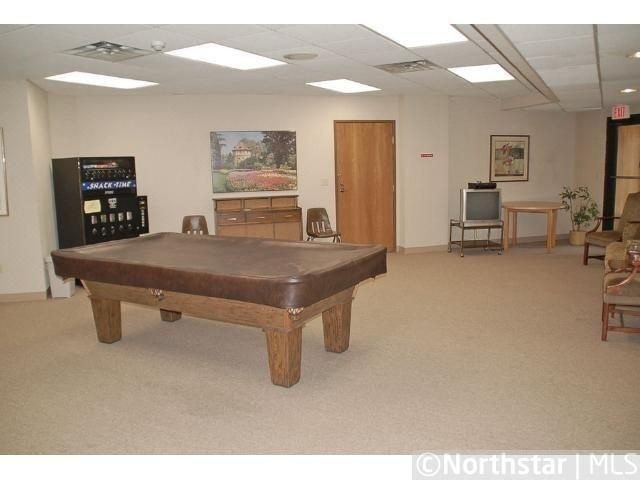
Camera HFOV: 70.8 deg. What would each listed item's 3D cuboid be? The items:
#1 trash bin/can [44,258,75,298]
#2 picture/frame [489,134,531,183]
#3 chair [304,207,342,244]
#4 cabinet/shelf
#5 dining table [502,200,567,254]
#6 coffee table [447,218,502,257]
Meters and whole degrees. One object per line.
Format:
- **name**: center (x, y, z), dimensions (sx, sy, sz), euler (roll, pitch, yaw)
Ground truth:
- **trash bin/can**: center (-3.564, 0.508, 6.126), dimensions (0.329, 0.548, 0.330), euler (-5, 12, -19)
- **picture/frame**: center (3.820, -1.677, 9.142), dimensions (1.066, 1.123, 0.056), euler (-4, 8, -14)
- **chair**: center (-0.003, -0.237, 7.153), dimensions (0.553, 0.800, 0.575), euler (-3, 6, -25)
- **cabinet/shelf**: center (-1.025, -0.320, 7.147), dimensions (0.890, 0.575, 0.302), euler (-2, 4, -18)
- **dining table**: center (3.999, -0.247, 8.598), dimensions (1.143, 0.835, 1.214), euler (5, 7, 30)
- **coffee table**: center (2.906, -0.068, 8.483), dimensions (0.981, 0.719, 0.794), euler (-1, 4, -7)
